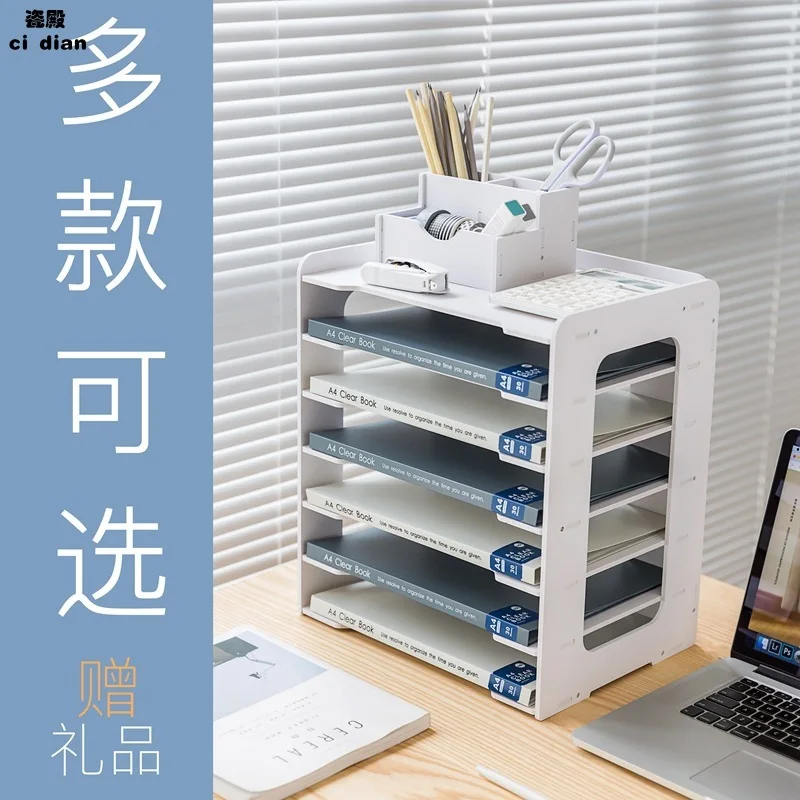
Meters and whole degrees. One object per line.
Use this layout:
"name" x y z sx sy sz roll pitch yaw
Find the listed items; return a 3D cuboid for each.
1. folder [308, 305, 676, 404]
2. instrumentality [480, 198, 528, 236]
"folder" 0.078 -0.065 1.108 0.234 0.032 0.167 15 17 42
"instrumentality" 0.115 -0.197 1.095 0.051 0.039 0.034 -5 12 -5
